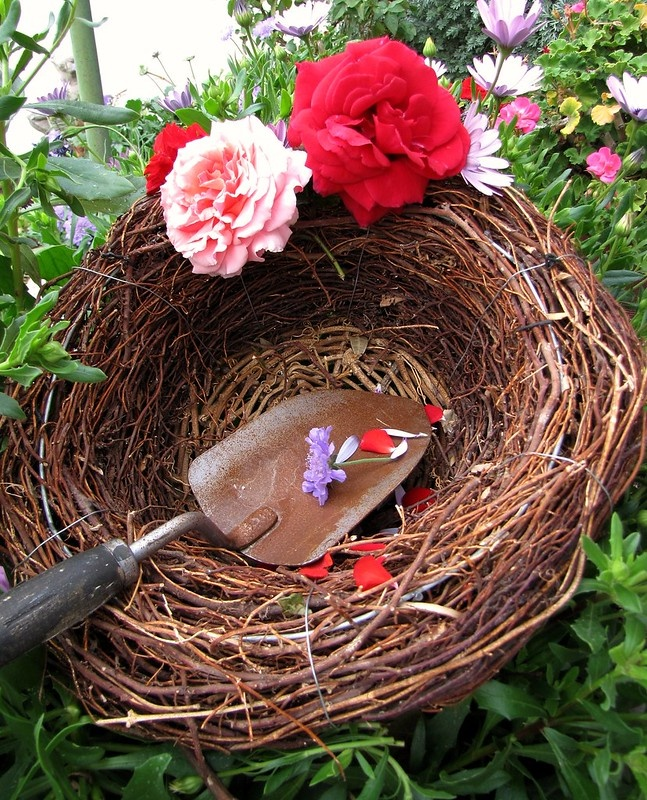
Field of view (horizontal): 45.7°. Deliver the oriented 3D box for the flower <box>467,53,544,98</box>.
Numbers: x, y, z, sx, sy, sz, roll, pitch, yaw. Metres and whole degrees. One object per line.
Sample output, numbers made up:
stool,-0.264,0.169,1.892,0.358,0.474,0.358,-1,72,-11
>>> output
flower,0.207,-0.371,0.857,0.090,0.055,0.050,4,33,9
